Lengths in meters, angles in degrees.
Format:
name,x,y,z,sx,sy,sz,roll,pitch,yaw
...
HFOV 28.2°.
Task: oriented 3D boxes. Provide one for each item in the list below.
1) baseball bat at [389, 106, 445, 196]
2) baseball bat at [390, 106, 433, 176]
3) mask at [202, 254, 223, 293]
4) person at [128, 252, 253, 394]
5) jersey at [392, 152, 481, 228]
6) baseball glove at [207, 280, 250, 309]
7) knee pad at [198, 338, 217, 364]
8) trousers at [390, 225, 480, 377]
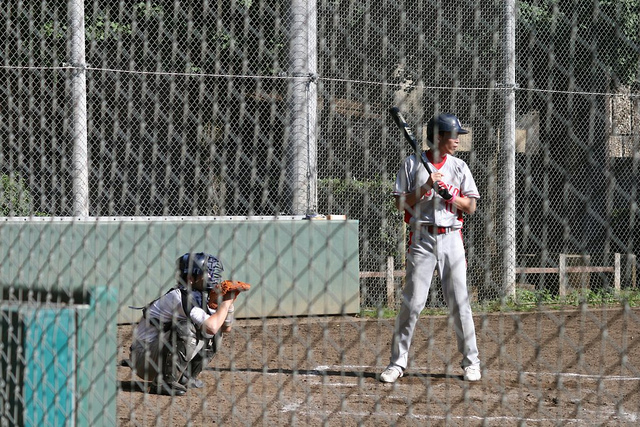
name,x,y,z,sx,sy,sz,roll,pitch,yaw
baseball bat,0.808,-0.653,11.426,0.135,0.159,0.927,-6,-23,17
baseball bat,0.930,-0.731,12.748,0.138,1.169,0.142,-29,-36,12
mask,-0.895,0.535,10.820,0.196,0.272,0.260,-10,-13,-1
person,-1.130,0.945,11.160,0.956,1.273,0.791,7,1,7
jersey,1.044,-0.216,11.544,0.779,0.784,0.446,4,-8,-2
baseball glove,-0.700,0.648,10.639,0.143,0.143,0.383,5,3,23
knee pad,-0.980,1.164,11.184,0.170,0.285,0.097,1,12,1
trousers,1.015,0.798,11.331,0.790,1.426,0.529,0,6,7
